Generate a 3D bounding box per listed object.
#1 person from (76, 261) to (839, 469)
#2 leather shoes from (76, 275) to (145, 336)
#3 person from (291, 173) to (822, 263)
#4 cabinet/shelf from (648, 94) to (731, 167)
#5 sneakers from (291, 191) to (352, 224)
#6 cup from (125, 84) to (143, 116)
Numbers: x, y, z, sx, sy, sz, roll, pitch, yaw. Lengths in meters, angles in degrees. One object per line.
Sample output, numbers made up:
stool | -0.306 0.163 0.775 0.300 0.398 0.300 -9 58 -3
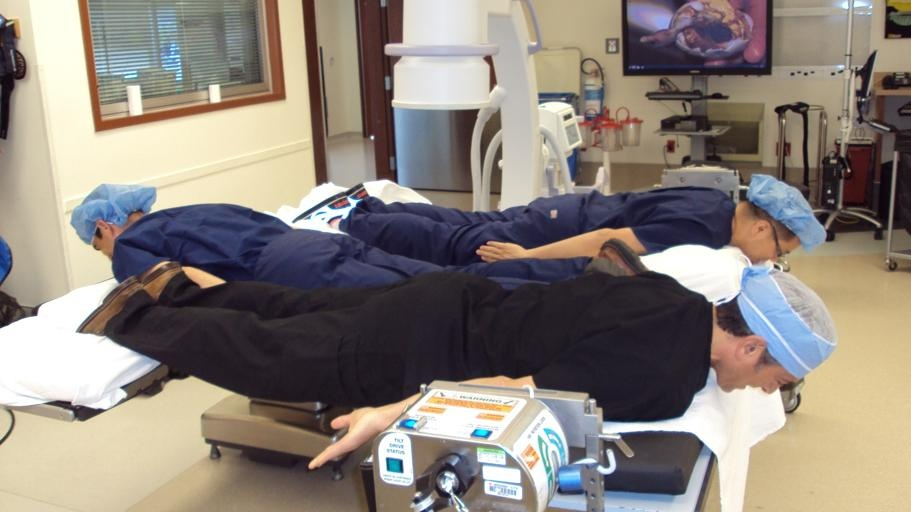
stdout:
person | 0.064 0.336 3.446 2.602 0.513 1.483 3 1 10
leather shoes | -1.824 0.268 3.792 0.461 0.164 0.166 -41 -2 -1
person | 0.550 -0.196 4.420 3.067 0.486 1.062 4 20 21
cabinet/shelf | 2.737 -1.515 8.232 0.837 0.864 1.013 5 19 19
sneakers | -0.946 -0.336 4.989 0.348 0.098 0.237 -29 7 19
cup | -2.511 -1.213 5.438 0.111 0.227 0.150 -10 20 -22
